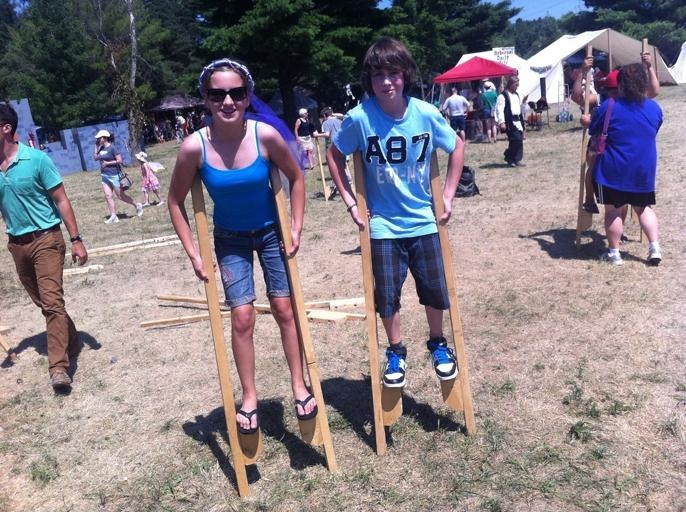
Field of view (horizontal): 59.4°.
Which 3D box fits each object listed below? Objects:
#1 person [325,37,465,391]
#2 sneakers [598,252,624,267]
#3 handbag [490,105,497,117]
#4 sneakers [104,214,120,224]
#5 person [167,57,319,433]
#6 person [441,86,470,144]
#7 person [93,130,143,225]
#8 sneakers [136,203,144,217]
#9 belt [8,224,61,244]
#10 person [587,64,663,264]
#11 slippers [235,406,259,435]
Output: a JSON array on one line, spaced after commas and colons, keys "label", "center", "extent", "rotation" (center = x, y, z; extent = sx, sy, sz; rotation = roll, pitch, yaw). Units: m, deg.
[{"label": "person", "center": [0.458, -0.319, 5.018], "extent": [1.069, 2.824, 0.783], "rotation": [-1, 19, 13]}, {"label": "sneakers", "center": [3.631, 0.024, 8.151], "extent": [0.127, 0.156, 0.344], "rotation": [-13, 27, -11]}, {"label": "handbag", "center": [5.182, -5.006, 20.714], "extent": [0.221, 0.369, 0.099], "rotation": [-3, 10, -20]}, {"label": "sneakers", "center": [-5.584, -0.889, 14.576], "extent": [0.164, 0.218, 0.467], "rotation": [7, 8, 8]}, {"label": "person", "center": [-0.792, -0.037, 4.904], "extent": [1.057, 2.960, 0.850], "rotation": [-7, 18, -4]}, {"label": "person", "center": [3.868, -4.796, 20.382], "extent": [0.757, 1.943, 0.546], "rotation": [-1, 33, 14]}, {"label": "person", "center": [-5.568, -1.960, 14.744], "extent": [0.914, 2.246, 1.313], "rotation": [-12, 20, -19]}, {"label": "sneakers", "center": [-5.187, -1.163, 15.350], "extent": [0.131, 0.458, 0.167], "rotation": [-2, 6, 16]}, {"label": "belt", "center": [-3.473, -0.215, 6.690], "extent": [0.303, 0.088, 0.320], "rotation": [-6, 20, 9]}, {"label": "person", "center": [3.798, -1.225, 8.052], "extent": [0.963, 2.670, 1.003], "rotation": [4, 13, 29]}, {"label": "slippers", "center": [-0.779, 1.348, 4.884], "extent": [0.191, 0.165, 0.557], "rotation": [-2, 2, -13]}]
